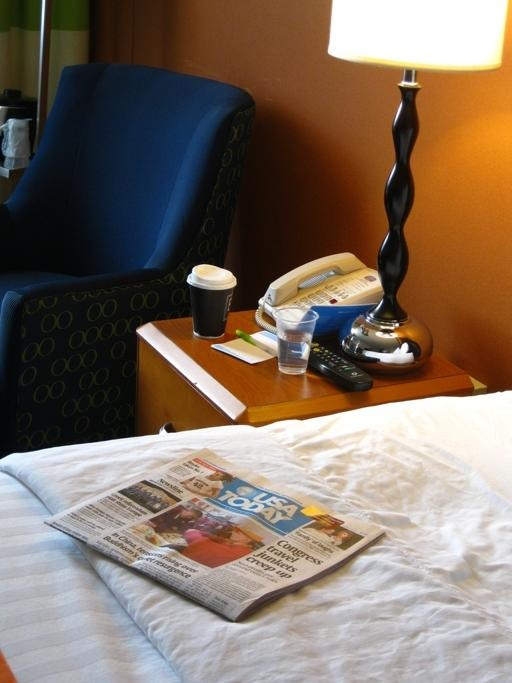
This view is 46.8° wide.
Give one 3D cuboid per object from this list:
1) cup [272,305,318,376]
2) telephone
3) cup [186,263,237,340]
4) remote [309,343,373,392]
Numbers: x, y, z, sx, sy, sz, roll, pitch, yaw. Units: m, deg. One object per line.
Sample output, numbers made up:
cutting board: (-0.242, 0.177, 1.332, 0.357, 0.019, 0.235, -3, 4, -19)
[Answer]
cup: (0.057, -0.008, 1.192, 0.113, 0.148, 0.110, 3, 18, -1)
telephone: (0.156, -0.112, 1.318, 0.311, 0.107, 0.222, -24, 28, -23)
cup: (-0.100, -0.091, 1.340, 0.141, 0.176, 0.140, 5, 25, -3)
remote: (0.161, 0.042, 1.105, 0.049, 0.022, 0.154, -11, 29, -20)
